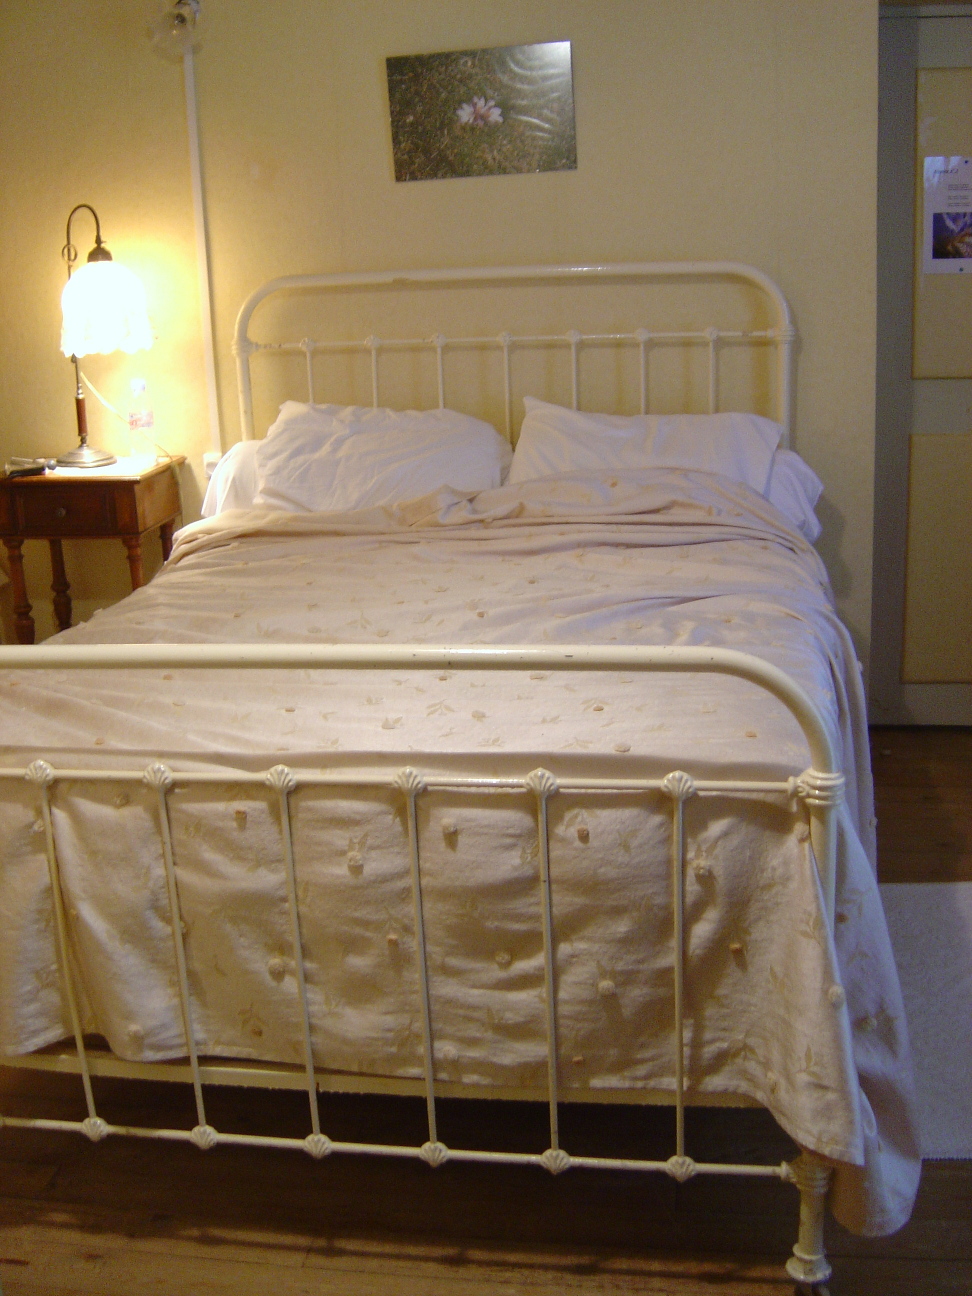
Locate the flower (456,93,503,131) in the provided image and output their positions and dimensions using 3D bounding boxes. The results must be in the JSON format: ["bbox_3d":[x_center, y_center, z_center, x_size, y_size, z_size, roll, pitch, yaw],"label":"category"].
[{"bbox_3d":[-0.016,-1.288,3.064,0.088,0.086,0.034,4,-6,6],"label":"flower"}]
